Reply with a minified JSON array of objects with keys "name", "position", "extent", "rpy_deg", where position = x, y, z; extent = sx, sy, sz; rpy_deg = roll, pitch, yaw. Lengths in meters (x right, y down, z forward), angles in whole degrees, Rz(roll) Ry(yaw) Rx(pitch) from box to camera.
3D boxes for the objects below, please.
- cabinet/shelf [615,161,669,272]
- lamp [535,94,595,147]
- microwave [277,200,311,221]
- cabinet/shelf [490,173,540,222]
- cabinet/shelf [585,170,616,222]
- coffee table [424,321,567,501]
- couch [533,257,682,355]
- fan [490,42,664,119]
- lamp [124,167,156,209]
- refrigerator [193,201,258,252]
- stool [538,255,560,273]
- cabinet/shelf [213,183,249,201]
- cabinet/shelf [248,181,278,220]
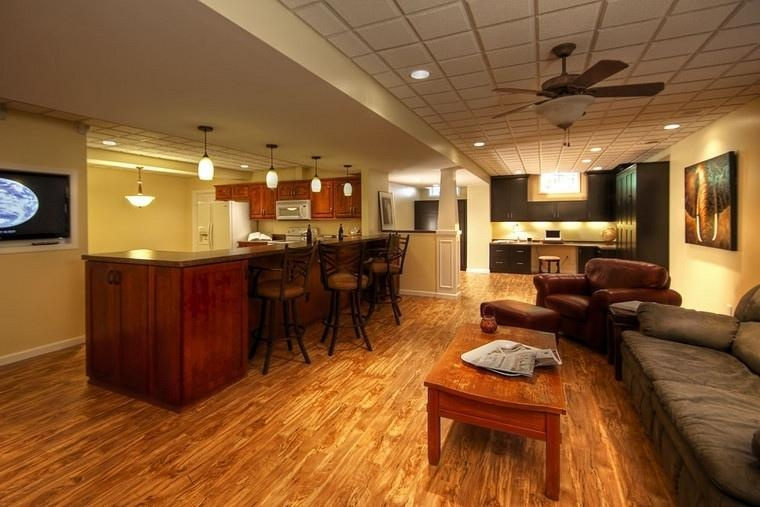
[{"name":"cabinet/shelf","position":[4.446,-0.690,8.515],"extent":[0.475,1.732,1.467],"rpy_deg":[0,8,5]},{"name":"lamp","position":[1.749,-1.285,4.665],"extent":[0.464,0.381,0.473],"rpy_deg":[-4,0,42]},{"name":"microwave","position":[-1.609,-0.818,9.257],"extent":[0.710,0.353,0.195],"rpy_deg":[3,9,23]},{"name":"cabinet/shelf","position":[3.124,-1.290,11.710],"extent":[1.272,1.603,0.925],"rpy_deg":[0,1,27]},{"name":"cabinet/shelf","position":[4.869,-1.273,10.798],"extent":[0.520,1.054,0.604],"rpy_deg":[-20,21,-41]},{"name":"coffee table","position":[0.952,1.217,4.088],"extent":[0.903,0.661,1.369],"rpy_deg":[1,2,20]},{"name":"couch","position":[2.722,0.476,5.991],"extent":[1.118,1.092,1.549],"rpy_deg":[3,-2,-6]},{"name":"fan","position":[1.874,-1.484,4.517],"extent":[0.987,0.502,1.057],"rpy_deg":[-3,-3,36]},{"name":"lamp","position":[-4.108,-1.149,8.525],"extent":[0.494,0.674,0.485],"rpy_deg":[0,3,5]},{"name":"refrigerator","position":[-2.990,-0.537,9.539],"extent":[0.976,0.919,0.602],"rpy_deg":[-2,8,-11]},{"name":"stool","position":[3.701,0.241,10.863],"extent":[0.413,0.431,0.412],"rpy_deg":[-10,12,-42]},{"name":"cabinet/shelf","position":[-2.919,-1.225,9.840],"extent":[0.852,0.335,0.170],"rpy_deg":[4,9,31]},{"name":"cabinet/shelf","position":[-2.173,-1.008,9.358],"extent":[0.739,0.856,0.439],"rpy_deg":[1,1,16]}]
